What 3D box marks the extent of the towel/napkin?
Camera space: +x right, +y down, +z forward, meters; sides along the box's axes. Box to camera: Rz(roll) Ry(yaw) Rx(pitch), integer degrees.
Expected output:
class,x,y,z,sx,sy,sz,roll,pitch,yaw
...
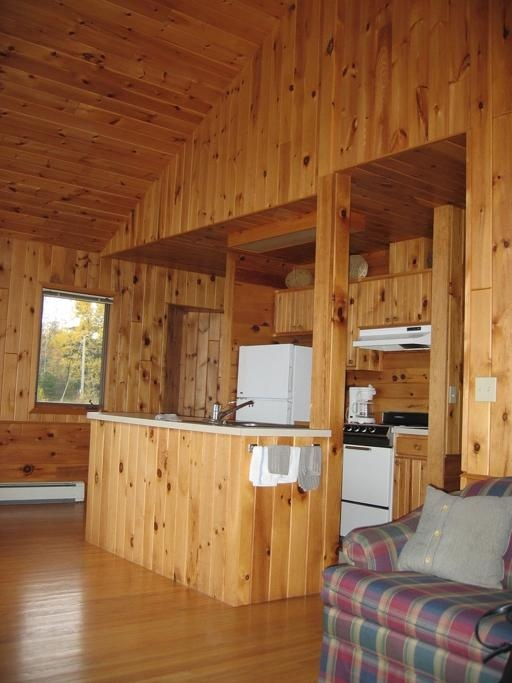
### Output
class,x,y,z,sx,sy,sz,roll,pitch,yaw
towel/napkin,0.138,0.685,3.035,0.304,0.176,0.068,5,-3,-33

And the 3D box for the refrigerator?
class,x,y,z,sx,sy,sz,roll,pitch,yaw
refrigerator,0.159,0.485,5.486,0.614,0.640,0.503,-5,-11,32

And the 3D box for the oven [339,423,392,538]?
class,x,y,z,sx,sy,sz,roll,pitch,yaw
oven,0.974,1.126,4.459,0.545,0.904,0.472,-4,-10,45

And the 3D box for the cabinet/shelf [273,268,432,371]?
class,x,y,z,sx,sy,sz,roll,pitch,yaw
cabinet/shelf,0.758,-0.105,5.392,0.388,0.962,2.046,-4,0,-39
